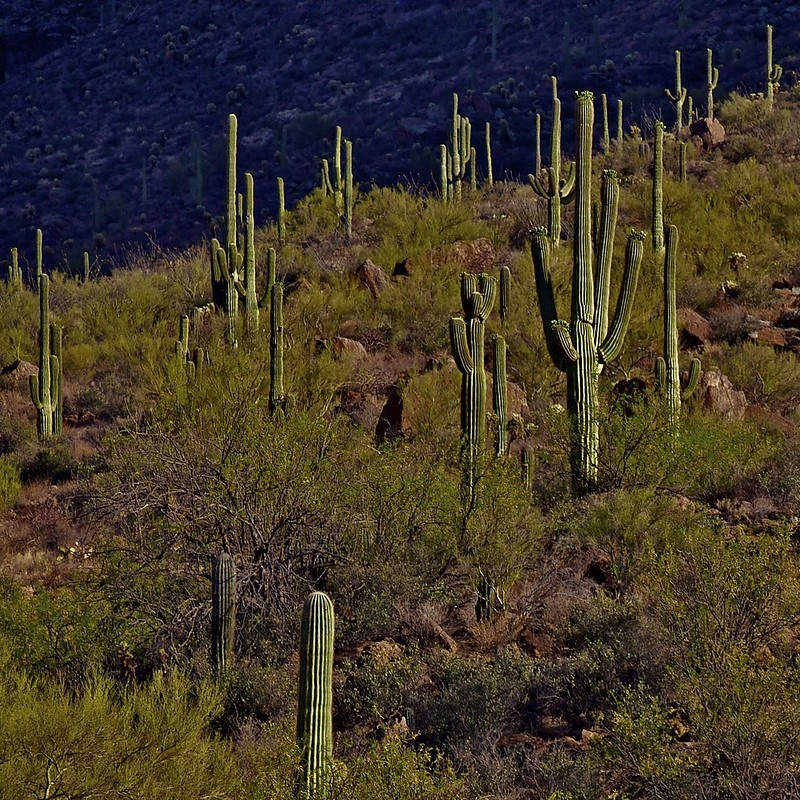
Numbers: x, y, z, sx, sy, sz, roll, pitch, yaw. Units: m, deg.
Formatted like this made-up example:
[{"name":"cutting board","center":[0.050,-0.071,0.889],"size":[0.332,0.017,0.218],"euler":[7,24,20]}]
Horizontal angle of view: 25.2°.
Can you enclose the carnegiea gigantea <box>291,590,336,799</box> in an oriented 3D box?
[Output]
[{"name":"carnegiea gigantea","center":[-1.195,4.056,24.983],"size":[0.552,2.605,0.819],"euler":[-2,8,2]}]

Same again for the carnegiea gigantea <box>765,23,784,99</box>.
[{"name":"carnegiea gigantea","center":[10.021,-8.999,48.058],"size":[0.305,2.178,0.432],"euler":[-6,12,-16]}]

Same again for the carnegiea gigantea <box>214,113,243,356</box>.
[{"name":"carnegiea gigantea","center":[-3.322,-3.307,34.213],"size":[0.567,4.204,1.460],"euler":[-3,8,-7]}]

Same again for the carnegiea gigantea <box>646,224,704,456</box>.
[{"name":"carnegiea gigantea","center":[4.673,-0.989,30.082],"size":[0.706,4.207,0.432],"euler":[5,35,17]}]

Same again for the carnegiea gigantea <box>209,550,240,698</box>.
[{"name":"carnegiea gigantea","center":[-2.579,3.127,26.170],"size":[0.423,1.742,0.519],"euler":[-3,8,-9]}]

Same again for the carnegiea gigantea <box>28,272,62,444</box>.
[{"name":"carnegiea gigantea","center":[-6.405,-0.767,32.487],"size":[0.534,3.674,0.471],"euler":[4,33,-2]}]

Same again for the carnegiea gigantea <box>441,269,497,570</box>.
[{"name":"carnegiea gigantea","center":[1.187,-0.005,28.458],"size":[0.676,3.659,2.534],"euler":[-1,10,5]}]

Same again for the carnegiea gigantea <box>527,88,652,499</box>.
[{"name":"carnegiea gigantea","center":[3.138,-1.554,29.972],"size":[1.733,1.298,9.056],"euler":[-5,56,12]}]

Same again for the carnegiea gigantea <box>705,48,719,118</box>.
[{"name":"carnegiea gigantea","center":[7.872,-7.977,45.188],"size":[0.339,1.906,0.236],"euler":[12,39,26]}]
